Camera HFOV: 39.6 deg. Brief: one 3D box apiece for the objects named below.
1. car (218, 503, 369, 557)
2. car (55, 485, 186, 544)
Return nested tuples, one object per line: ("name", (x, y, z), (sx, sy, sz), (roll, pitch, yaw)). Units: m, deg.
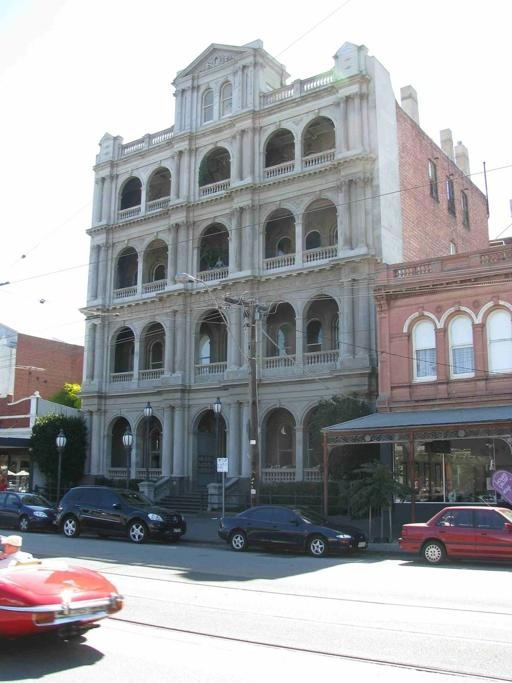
("car", (0.963, 5.112, 19.160), (3.486, 1.029, 1.507), (-10, -19, 28))
("car", (-4.194, 5.256, 21.760), (3.432, 1.610, 1.361), (-5, -13, 25))
